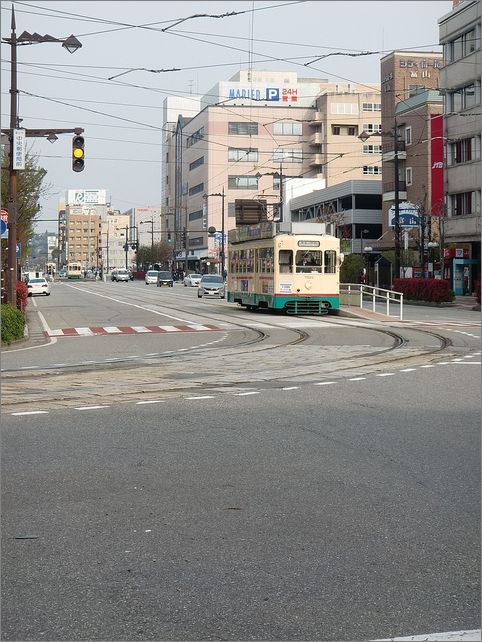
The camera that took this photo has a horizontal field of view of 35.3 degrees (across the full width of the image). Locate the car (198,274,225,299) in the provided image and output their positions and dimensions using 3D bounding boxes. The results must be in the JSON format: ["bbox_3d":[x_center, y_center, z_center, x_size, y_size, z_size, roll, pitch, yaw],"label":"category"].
[{"bbox_3d":[-2.020,-2.332,51.747,1.780,1.530,2.615,0,2,-2],"label":"car"}]

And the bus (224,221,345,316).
[{"bbox_3d":[1.652,-2.188,32.415,3.715,3.823,8.126,-1,2,-8],"label":"bus"}]

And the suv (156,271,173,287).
[{"bbox_3d":[-8.380,-4.575,82.508,1.036,1.315,2.177,-1,-3,-9],"label":"suv"}]

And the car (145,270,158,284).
[{"bbox_3d":[-11.029,-5.317,92.565,1.240,1.388,2.405,-1,-1,-12],"label":"car"}]

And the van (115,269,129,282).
[{"bbox_3d":[-17.150,-6.585,109.349,1.242,1.474,3.092,-1,2,-27],"label":"van"}]
